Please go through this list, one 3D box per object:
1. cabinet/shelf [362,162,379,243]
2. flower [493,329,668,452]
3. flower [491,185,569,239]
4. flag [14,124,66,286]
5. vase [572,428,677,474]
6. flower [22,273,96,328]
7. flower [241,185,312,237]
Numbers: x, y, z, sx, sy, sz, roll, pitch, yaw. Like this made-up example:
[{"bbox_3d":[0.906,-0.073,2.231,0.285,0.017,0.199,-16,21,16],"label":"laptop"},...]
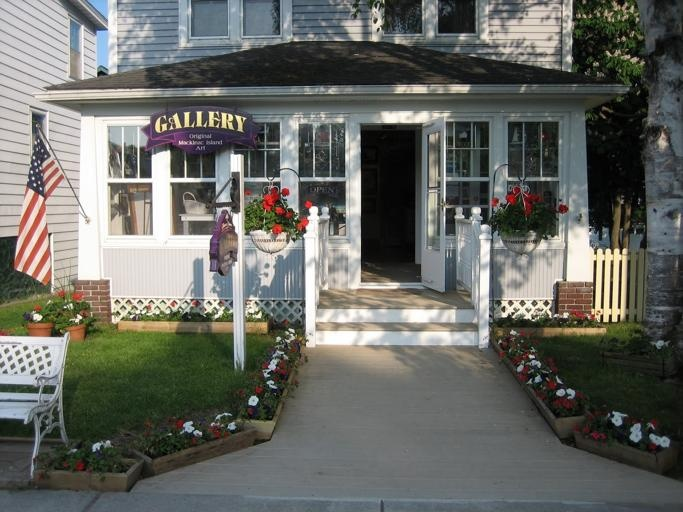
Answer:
[{"bbox_3d":[0.818,-1.688,20.421,0.580,2.601,1.553,-2,2,1],"label":"cabinet/shelf"},{"bbox_3d":[2.749,1.704,9.253,0.631,0.374,2.334,-1,16,-8],"label":"flower"},{"bbox_3d":[2.942,-0.654,11.815,0.948,0.896,1.139,3,10,3],"label":"flower"},{"bbox_3d":[-4.960,-0.851,11.800,0.594,2.589,0.840,-2,2,-2],"label":"flag"},{"bbox_3d":[3.241,2.222,8.248,1.096,0.392,0.236,-1,2,22],"label":"vase"},{"bbox_3d":[-4.656,0.832,11.983,0.790,0.531,0.827,-3,14,-27],"label":"flower"},{"bbox_3d":[-1.085,-0.714,11.467,0.768,0.795,0.784,4,5,40],"label":"flower"}]
